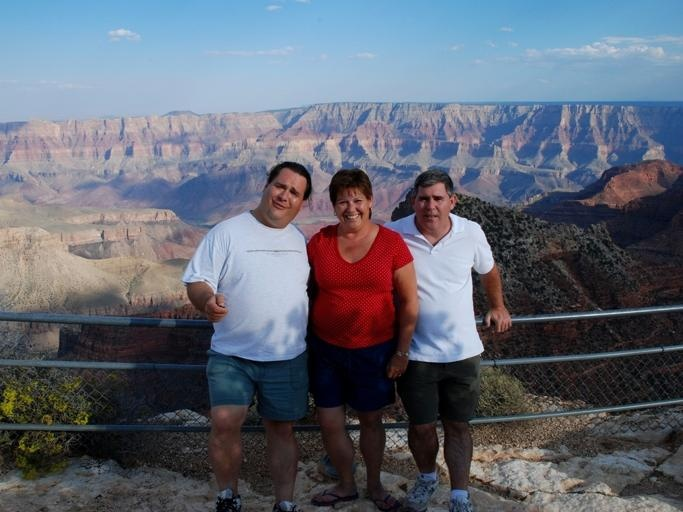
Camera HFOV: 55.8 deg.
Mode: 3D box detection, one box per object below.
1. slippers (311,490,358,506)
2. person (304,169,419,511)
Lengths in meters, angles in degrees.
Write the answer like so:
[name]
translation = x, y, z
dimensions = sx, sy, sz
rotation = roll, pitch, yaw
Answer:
[slippers]
translation = -0.060, 1.939, 5.181
dimensions = 0.276, 0.074, 0.146
rotation = 1, -4, -5
[person]
translation = 0.162, 0.670, 5.089
dimensions = 0.853, 2.688, 0.259
rotation = -1, 6, 0
